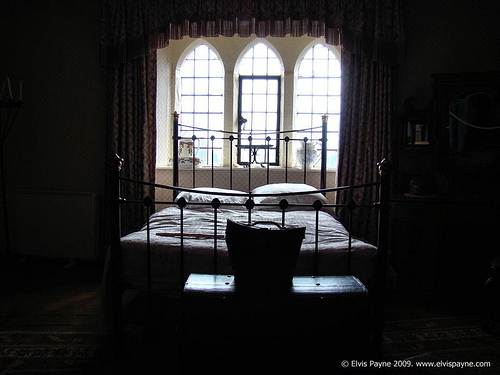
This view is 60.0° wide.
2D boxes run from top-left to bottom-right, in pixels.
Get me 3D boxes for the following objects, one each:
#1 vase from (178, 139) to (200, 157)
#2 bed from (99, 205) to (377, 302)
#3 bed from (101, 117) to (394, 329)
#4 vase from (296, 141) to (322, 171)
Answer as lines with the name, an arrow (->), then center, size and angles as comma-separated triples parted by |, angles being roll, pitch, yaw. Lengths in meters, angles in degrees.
vase -> -0.684, -0.434, 4.769 | 0.167, 0.202, 0.174 | 2, 4, 1
bed -> -0.147, 0.524, 3.412 | 1.580, 0.821, 2.258 | 2, 2, 17
bed -> -0.051, 0.088, 4.243 | 2.013, 1.604, 3.223 | 1, 5, -3
vase -> 0.652, -0.345, 4.733 | 0.281, 0.322, 0.284 | 1, 1, 16
